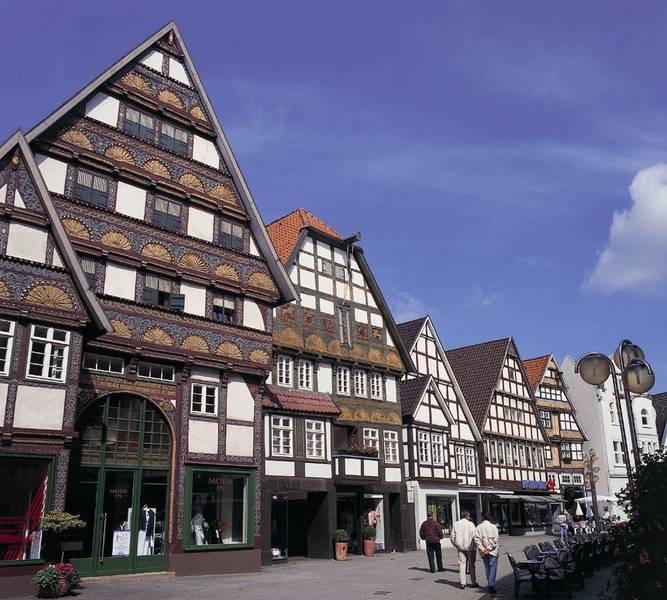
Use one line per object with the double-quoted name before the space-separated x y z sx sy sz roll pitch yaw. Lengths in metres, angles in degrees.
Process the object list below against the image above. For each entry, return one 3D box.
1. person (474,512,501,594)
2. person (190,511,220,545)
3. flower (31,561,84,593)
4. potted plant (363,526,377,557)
"person" 3.899 6.444 14.436 0.437 1.677 0.585 0 -19 -5
"person" -4.011 7.038 17.639 0.384 0.919 0.905 -22 -27 39
"flower" -6.010 6.039 12.598 0.747 0.600 0.824 -3 -26 4
"potted plant" 1.523 10.498 25.044 0.504 1.261 0.888 -1 -20 -3
